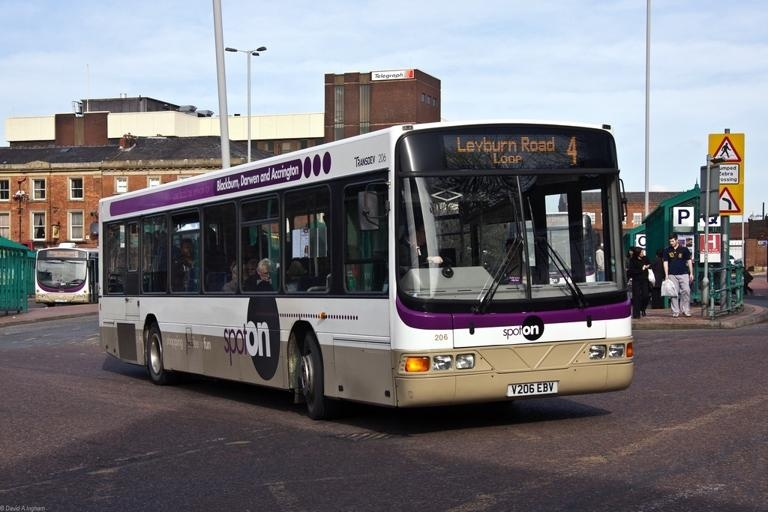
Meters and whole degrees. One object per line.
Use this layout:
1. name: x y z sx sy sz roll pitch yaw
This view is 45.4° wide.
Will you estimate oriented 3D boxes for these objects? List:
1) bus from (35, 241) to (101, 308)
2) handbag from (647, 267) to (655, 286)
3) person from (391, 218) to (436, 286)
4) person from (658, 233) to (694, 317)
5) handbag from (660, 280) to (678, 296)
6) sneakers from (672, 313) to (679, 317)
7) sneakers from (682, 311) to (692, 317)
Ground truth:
1. bus: -18.591 1.107 53.764 3.332 3.448 1.738 -3 3 -27
2. handbag: 8.167 0.625 28.247 0.159 0.594 0.436 2 0 -25
3. person: 0.465 0.002 12.121 0.653 1.299 0.669 -1 0 5
4. person: 8.036 0.558 25.349 0.747 2.287 1.515 -1 2 18
5. handbag: 7.709 0.856 24.895 0.428 0.581 0.233 1 -1 -1
6. sneakers: 8.126 1.664 25.782 0.088 0.122 0.269 0 -5 -18
7. sneakers: 8.463 1.634 25.876 0.148 0.199 0.478 0 -6 -11
